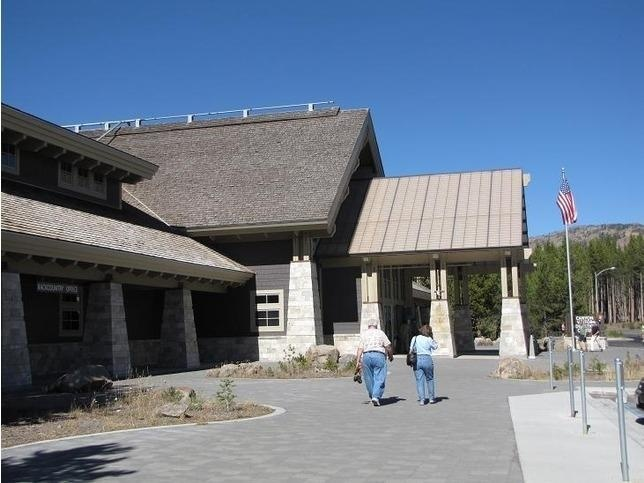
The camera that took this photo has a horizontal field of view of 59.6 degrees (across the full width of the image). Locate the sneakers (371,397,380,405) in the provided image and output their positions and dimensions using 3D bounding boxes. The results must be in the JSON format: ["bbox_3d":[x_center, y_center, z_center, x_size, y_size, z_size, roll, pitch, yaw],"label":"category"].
[{"bbox_3d":[1.418,4.219,14.716,0.243,0.225,0.490,-4,-12,3],"label":"sneakers"}]

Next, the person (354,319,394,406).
[{"bbox_3d":[1.458,3.287,15.238,0.889,2.253,1.031,0,-12,-16],"label":"person"}]

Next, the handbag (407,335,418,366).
[{"bbox_3d":[2.493,3.067,15.507,0.296,0.887,0.770,-5,-12,9],"label":"handbag"}]

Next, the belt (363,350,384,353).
[{"bbox_3d":[1.371,2.964,15.066,0.505,0.085,0.139,-4,-12,5],"label":"belt"}]

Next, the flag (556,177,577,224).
[{"bbox_3d":[15.671,-2.622,36.245,0.936,3.192,1.340,-7,-12,21],"label":"flag"}]

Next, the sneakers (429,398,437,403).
[{"bbox_3d":[2.943,4.270,15.010,0.090,0.116,0.272,-3,-17,16],"label":"sneakers"}]
